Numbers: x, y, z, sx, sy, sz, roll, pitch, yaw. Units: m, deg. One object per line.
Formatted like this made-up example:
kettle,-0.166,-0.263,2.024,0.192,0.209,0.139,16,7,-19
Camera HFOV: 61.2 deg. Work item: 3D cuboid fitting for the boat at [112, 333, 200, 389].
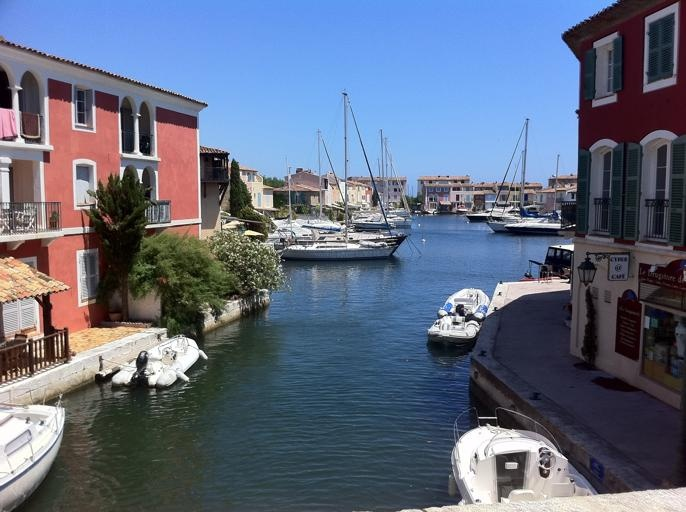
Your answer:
boat,-7.271,4.317,23.417,1.953,1.352,3.810,3,9,24

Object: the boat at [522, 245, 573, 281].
boat,16.443,0.684,46.879,2.877,2.983,3.026,-5,8,-15

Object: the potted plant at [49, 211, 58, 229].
potted plant,-12.098,-1.455,24.187,0.388,0.676,0.144,-5,9,-30
